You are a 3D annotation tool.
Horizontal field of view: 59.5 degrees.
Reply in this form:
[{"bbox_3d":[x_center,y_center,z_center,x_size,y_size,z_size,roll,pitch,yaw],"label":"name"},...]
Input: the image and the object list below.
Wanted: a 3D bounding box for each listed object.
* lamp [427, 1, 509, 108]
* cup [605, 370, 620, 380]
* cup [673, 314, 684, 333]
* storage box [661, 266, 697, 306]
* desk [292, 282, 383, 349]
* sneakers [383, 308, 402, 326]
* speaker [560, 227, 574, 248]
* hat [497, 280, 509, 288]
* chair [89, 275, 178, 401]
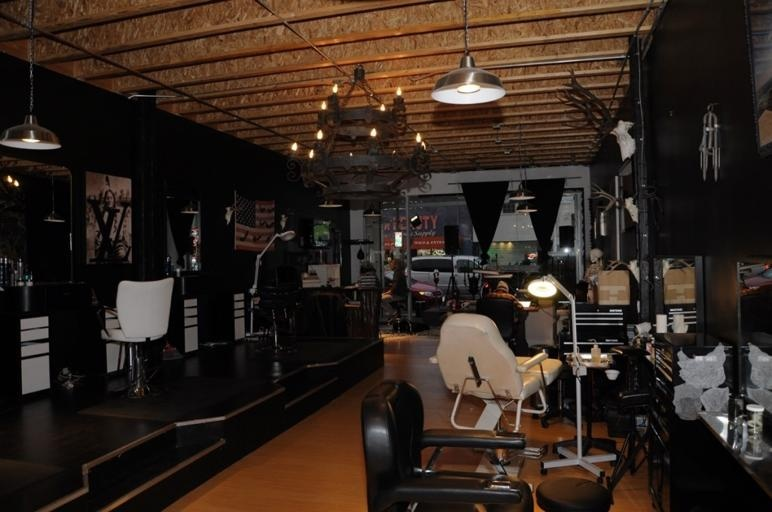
[{"bbox_3d":[0.758,-1.934,6.347,0.612,0.989,1.694,0,15,4],"label":"lamp"},{"bbox_3d":[2.333,1.196,6.878,0.150,0.093,0.155,0,-7,0],"label":"cup"},{"bbox_3d":[2.871,0.665,6.577,0.108,0.177,0.123,14,-9,-1],"label":"cup"},{"bbox_3d":[3.013,0.306,6.859,0.085,0.365,0.323,4,-1,-17],"label":"storage box"},{"bbox_3d":[-0.827,0.959,11.032,0.998,0.698,1.028,-2,-1,18],"label":"desk"},{"bbox_3d":[0.123,1.265,13.945,0.384,0.171,0.299,1,2,31],"label":"sneakers"},{"bbox_3d":[3.939,-0.419,14.569,0.328,0.439,0.179,3,15,14],"label":"speaker"},{"bbox_3d":[1.840,0.434,10.578,0.163,0.118,0.254,-2,-15,18],"label":"hat"},{"bbox_3d":[-2.811,0.884,7.632,0.739,1.317,0.703,5,6,39],"label":"chair"}]
